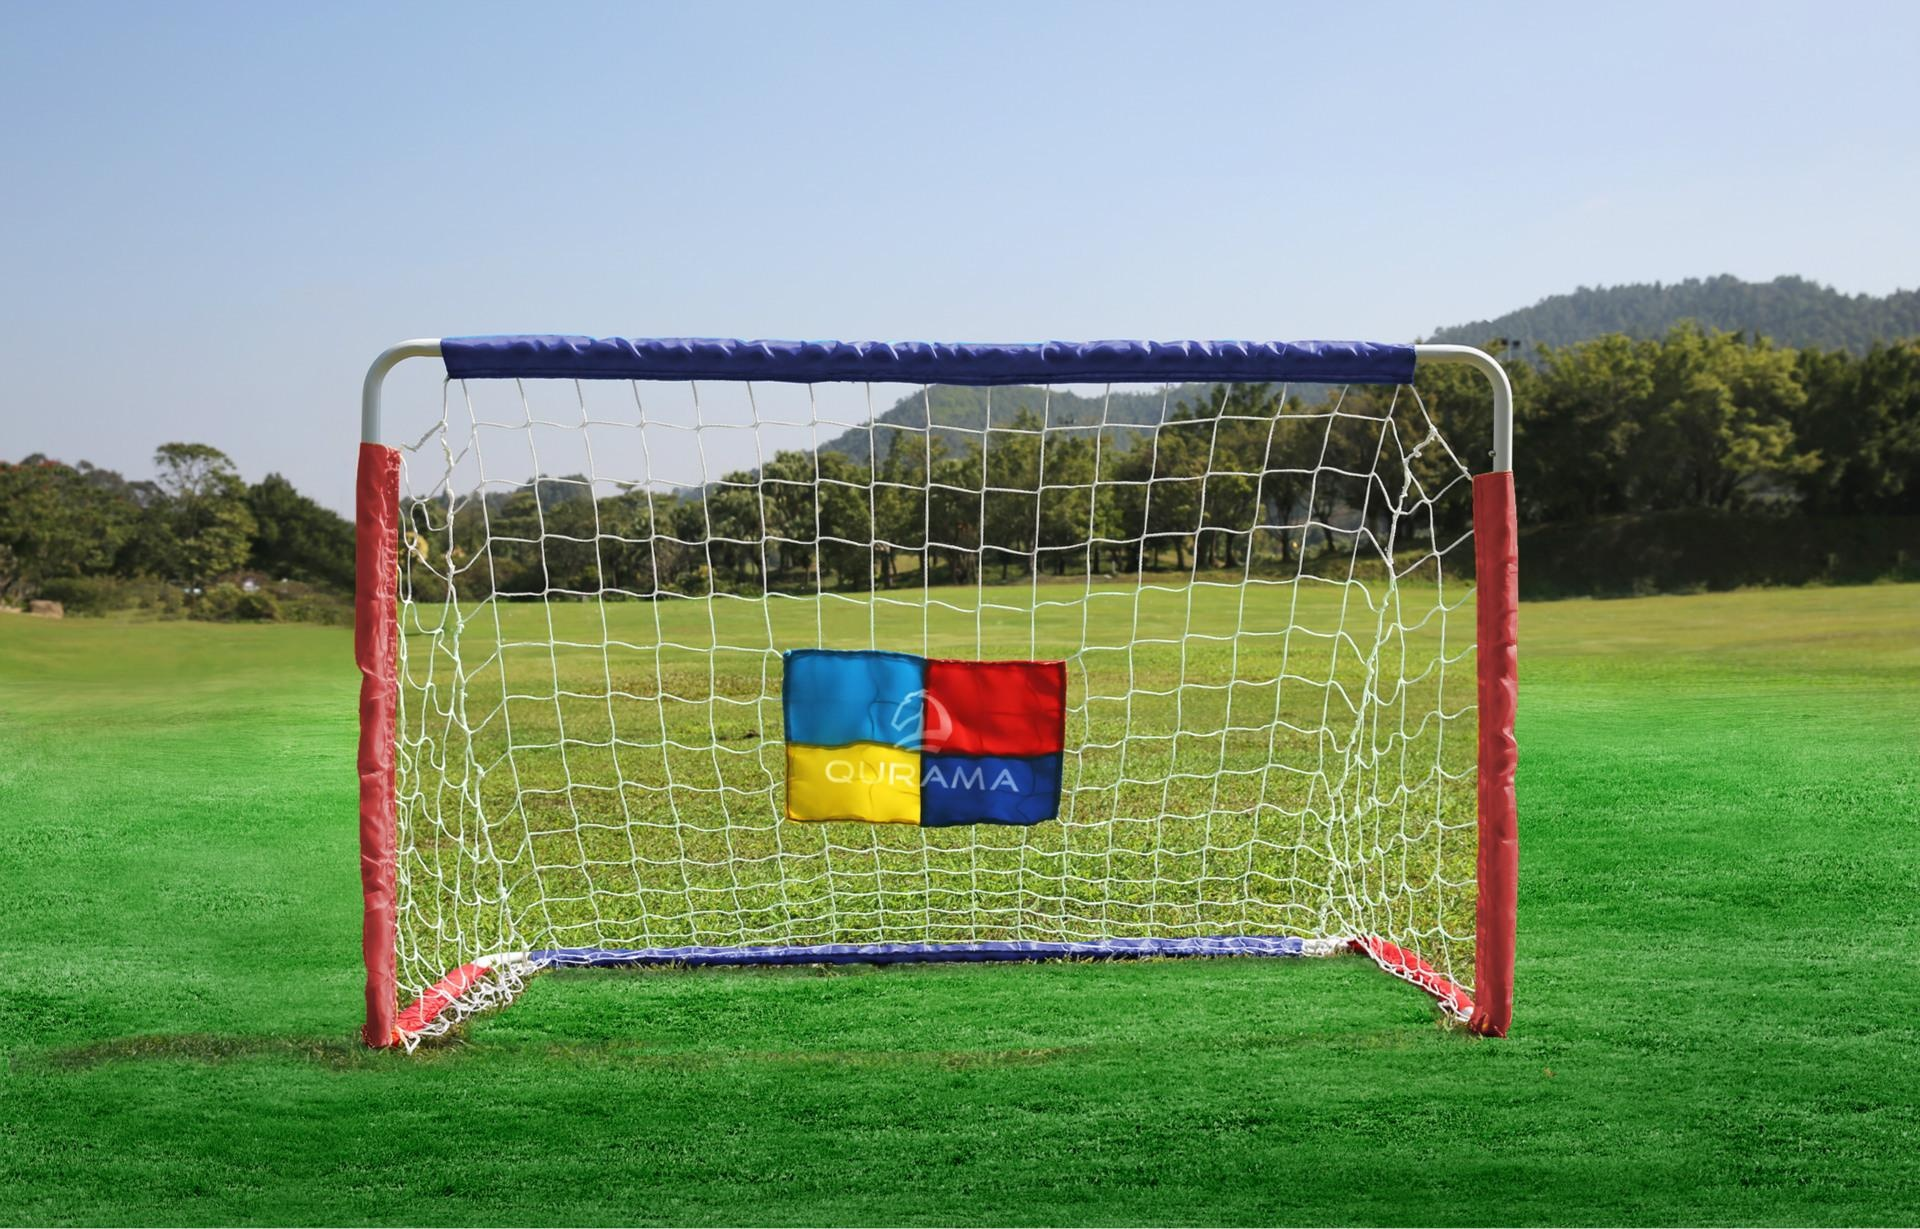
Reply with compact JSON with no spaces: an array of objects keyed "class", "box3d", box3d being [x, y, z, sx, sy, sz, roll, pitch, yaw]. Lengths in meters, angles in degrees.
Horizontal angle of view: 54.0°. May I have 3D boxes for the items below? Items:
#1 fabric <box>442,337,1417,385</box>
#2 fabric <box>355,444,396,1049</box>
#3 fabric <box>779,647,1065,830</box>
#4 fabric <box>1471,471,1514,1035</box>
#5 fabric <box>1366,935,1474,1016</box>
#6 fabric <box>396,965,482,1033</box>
[{"class":"fabric","box3d":[-0.118,-1.524,11.414,5.759,0.270,0.311,0,1,-2]},{"class":"fabric","box3d":[-3.506,0.794,11.378,0.245,3.627,0.236,0,1,-19]},{"class":"fabric","box3d":[-0.231,0.790,11.719,1.284,0.797,0.093,0,0,-1]},{"class":"fabric","box3d":[3.226,0.855,11.395,0.259,3.397,0.238,0,1,9]},{"class":"fabric","box3d":[2.866,2.269,11.777,0.244,0.087,0.845,-6,22,-29]},{"class":"fabric","box3d":[-3.198,2.379,11.557,0.183,0.049,0.671,21,30,18]}]
